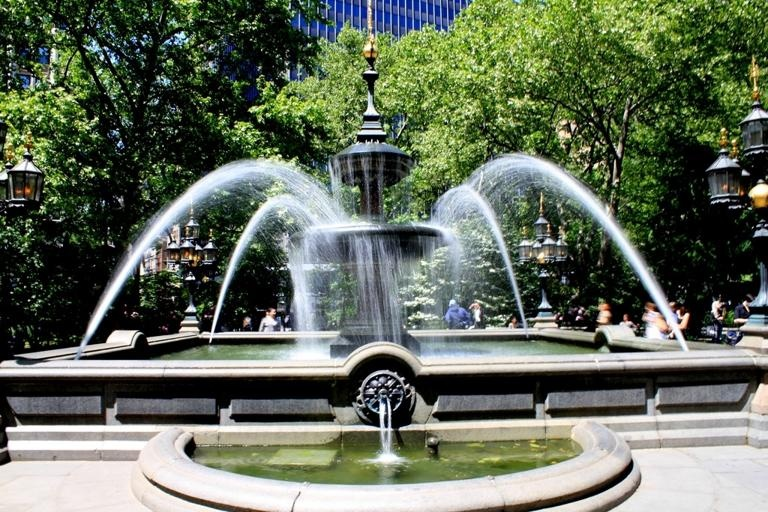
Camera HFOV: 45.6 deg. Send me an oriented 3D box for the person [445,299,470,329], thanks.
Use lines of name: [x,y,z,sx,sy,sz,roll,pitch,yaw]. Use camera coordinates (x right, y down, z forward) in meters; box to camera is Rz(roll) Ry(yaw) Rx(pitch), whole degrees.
person: [2.940,2.342,36.138,0.799,1.243,1.898,1,4,1]
